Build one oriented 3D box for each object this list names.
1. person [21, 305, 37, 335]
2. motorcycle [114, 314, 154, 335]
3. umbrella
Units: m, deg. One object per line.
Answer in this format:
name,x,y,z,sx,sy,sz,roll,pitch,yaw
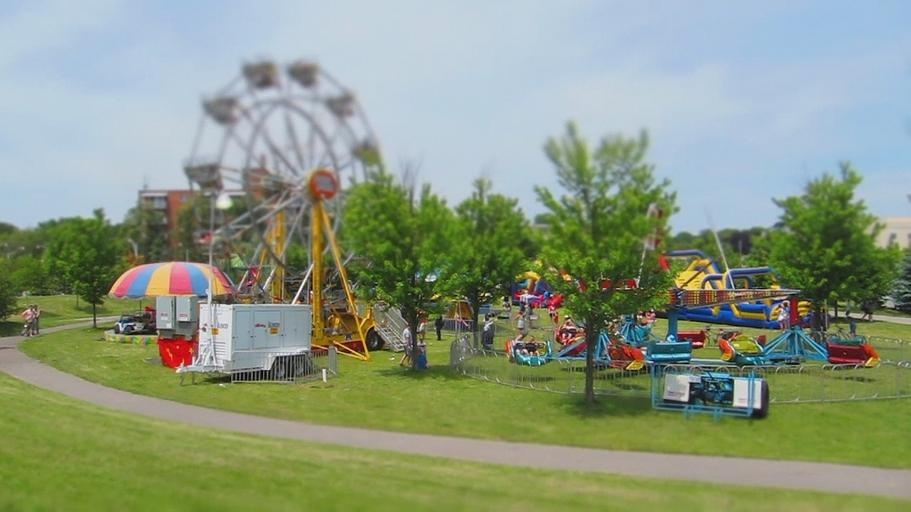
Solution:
person,-22.788,3.402,48.083,0.612,1.612,1.277,4,-7,-21
motorcycle,-18.325,3.874,51.308,1.155,0.924,1.868,-2,-4,31
umbrella,-12.940,2.037,42.524,4.230,2.628,4.317,-3,-4,28
